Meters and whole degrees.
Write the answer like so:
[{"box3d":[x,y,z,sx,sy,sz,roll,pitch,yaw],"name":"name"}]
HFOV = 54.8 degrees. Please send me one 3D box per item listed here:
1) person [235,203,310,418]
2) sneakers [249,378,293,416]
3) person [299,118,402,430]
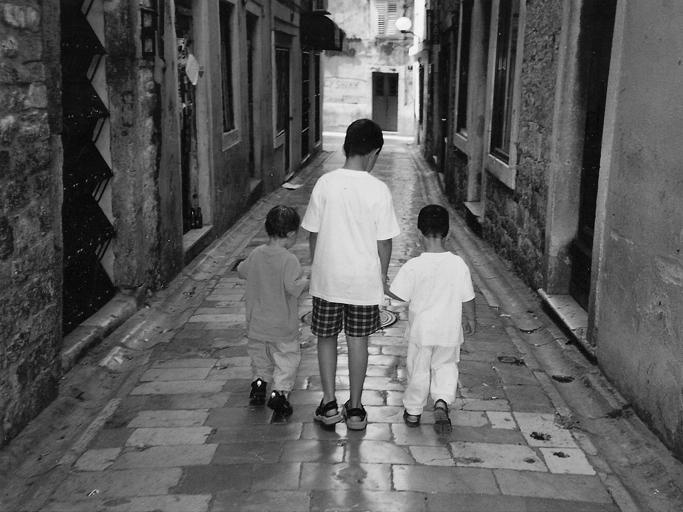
[{"box3d":[-0.440,0.334,4.307,0.373,1.313,0.483,-12,18,-41],"name":"person"},{"box3d":[-0.463,0.917,4.315,0.180,0.110,0.331,10,-27,22],"name":"sneakers"},{"box3d":[0.053,0.121,4.041,0.567,1.842,0.402,-1,13,-4],"name":"person"}]
